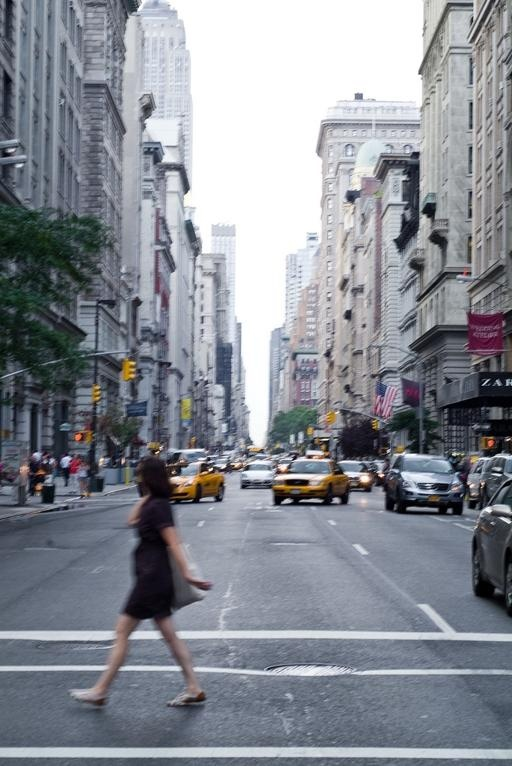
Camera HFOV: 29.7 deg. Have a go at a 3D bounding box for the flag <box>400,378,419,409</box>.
[{"bbox_3d":[10.518,0.559,65.927,1.054,1.995,3.819,0,-5,7],"label":"flag"}]

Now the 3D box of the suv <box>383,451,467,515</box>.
[{"bbox_3d":[5.048,3.144,30.493,1.297,1.245,2.905,1,-9,-2],"label":"suv"}]

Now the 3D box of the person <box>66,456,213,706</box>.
[{"bbox_3d":[-0.640,1.194,5.733,0.713,1.494,0.362,1,-5,-10],"label":"person"}]

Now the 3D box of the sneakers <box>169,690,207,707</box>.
[{"bbox_3d":[-0.424,1.914,5.864,0.170,0.073,0.102,-1,-7,5],"label":"sneakers"}]

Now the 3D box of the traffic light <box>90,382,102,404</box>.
[{"bbox_3d":[-9.176,0.548,55.191,0.595,0.348,1.455,-2,26,-5],"label":"traffic light"}]

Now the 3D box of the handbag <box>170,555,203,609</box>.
[{"bbox_3d":[-0.430,1.209,5.855,0.283,0.310,0.227,1,1,-5],"label":"handbag"}]

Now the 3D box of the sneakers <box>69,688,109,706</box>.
[{"bbox_3d":[-0.998,1.872,5.774,0.167,0.073,0.132,23,-37,-19],"label":"sneakers"}]

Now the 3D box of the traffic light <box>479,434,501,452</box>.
[{"bbox_3d":[12.582,3.208,52.039,0.470,0.845,0.899,-1,6,40],"label":"traffic light"}]
